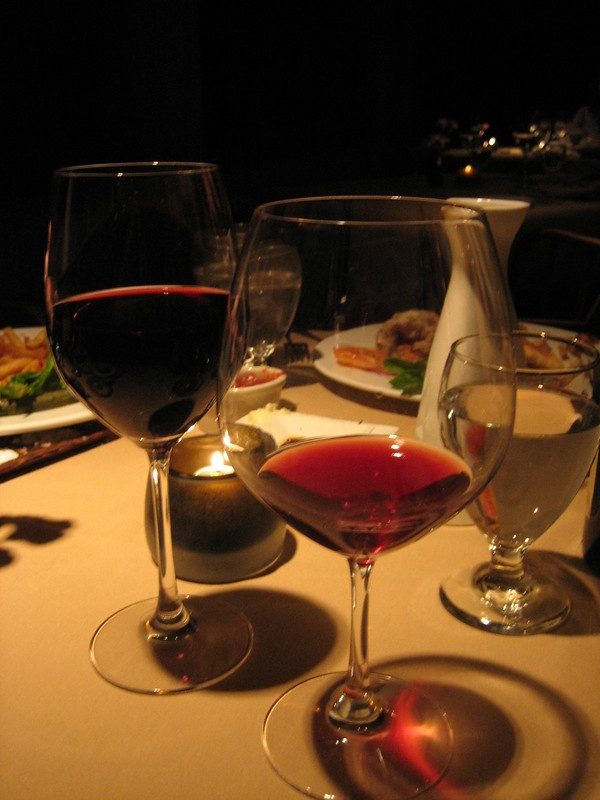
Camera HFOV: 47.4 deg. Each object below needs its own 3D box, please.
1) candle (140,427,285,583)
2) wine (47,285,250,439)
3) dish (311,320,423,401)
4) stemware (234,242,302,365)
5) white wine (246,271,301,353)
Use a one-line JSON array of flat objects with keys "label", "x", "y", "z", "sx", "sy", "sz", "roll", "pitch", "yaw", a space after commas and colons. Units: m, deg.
[{"label": "candle", "x": -0.060, "y": 0.082, "z": 0.505, "sx": 0.108, "sy": 0.080, "sz": 0.101, "roll": -1, "pitch": 19, "yaw": -1}, {"label": "wine", "x": -0.081, "y": -0.013, "z": 0.368, "sx": 0.099, "sy": 0.072, "sz": 0.093, "roll": -4, "pitch": -2, "yaw": 4}, {"label": "dish", "x": 0.027, "y": -0.015, "z": 0.288, "sx": 0.033, "sy": 0.038, "sz": 0.057, "roll": 9, "pitch": 19, "yaw": 31}, {"label": "stemware", "x": -0.011, "y": -0.038, "z": 0.277, "sx": 0.029, "sy": 0.049, "sz": 0.012, "roll": 10, "pitch": 21, "yaw": 34}, {"label": "white wine", "x": -0.011, "y": -0.037, "z": 0.278, "sx": 0.024, "sy": 0.034, "sz": 0.023, "roll": 17, "pitch": 25, "yaw": 32}]
